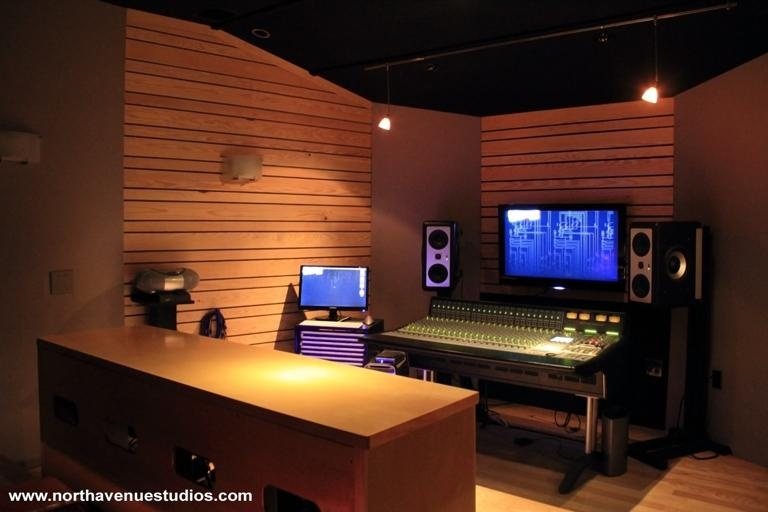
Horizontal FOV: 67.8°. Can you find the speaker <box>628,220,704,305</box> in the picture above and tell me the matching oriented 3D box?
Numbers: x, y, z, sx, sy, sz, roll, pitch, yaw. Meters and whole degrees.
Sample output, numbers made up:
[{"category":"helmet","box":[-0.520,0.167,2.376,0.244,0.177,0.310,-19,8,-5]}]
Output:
[{"category":"speaker","box":[2.276,0.056,4.558,0.633,0.680,0.305,-4,11,-16]}]

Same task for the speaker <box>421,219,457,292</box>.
[{"category":"speaker","box":[0.532,0.003,5.394,0.341,0.654,0.186,0,11,5]}]

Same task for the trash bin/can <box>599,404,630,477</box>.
[{"category":"trash bin/can","box":[1.771,1.418,4.377,0.203,0.496,0.183,-1,11,0]}]

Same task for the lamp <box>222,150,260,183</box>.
[{"category":"lamp","box":[-1.260,-0.760,5.035,0.302,0.213,0.308,-3,-2,39]}]

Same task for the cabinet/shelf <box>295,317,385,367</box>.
[{"category":"cabinet/shelf","box":[-0.435,0.758,5.158,0.641,0.539,0.442,3,-2,5]}]

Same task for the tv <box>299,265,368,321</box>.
[{"category":"tv","box":[-0.486,0.333,5.400,0.588,0.386,0.179,0,-7,-3]}]
